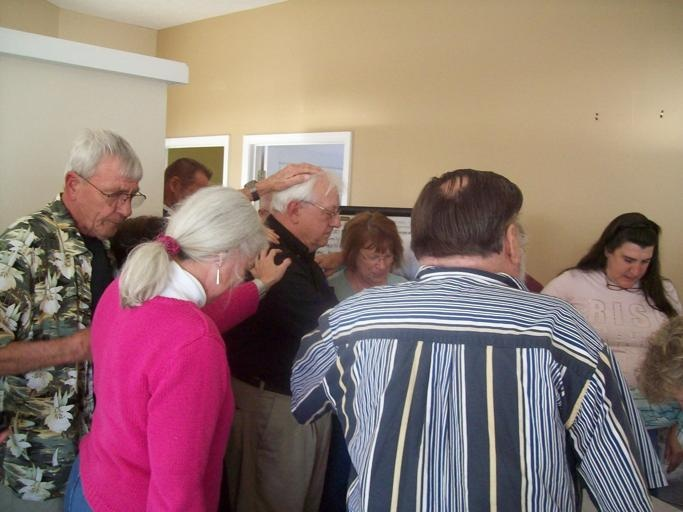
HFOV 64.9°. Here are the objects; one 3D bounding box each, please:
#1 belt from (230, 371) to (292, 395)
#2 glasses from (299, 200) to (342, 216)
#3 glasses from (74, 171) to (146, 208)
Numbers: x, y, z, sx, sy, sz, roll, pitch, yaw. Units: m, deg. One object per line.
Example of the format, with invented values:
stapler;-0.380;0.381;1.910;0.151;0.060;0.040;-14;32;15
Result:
belt;-0.314;0.510;2.160;0.153;0.051;0.152;15;-5;14
glasses;-0.080;-0.205;2.254;0.088;0.030;0.090;37;9;6
glasses;-0.802;-0.237;1.955;0.140;0.122;0.266;5;12;14
